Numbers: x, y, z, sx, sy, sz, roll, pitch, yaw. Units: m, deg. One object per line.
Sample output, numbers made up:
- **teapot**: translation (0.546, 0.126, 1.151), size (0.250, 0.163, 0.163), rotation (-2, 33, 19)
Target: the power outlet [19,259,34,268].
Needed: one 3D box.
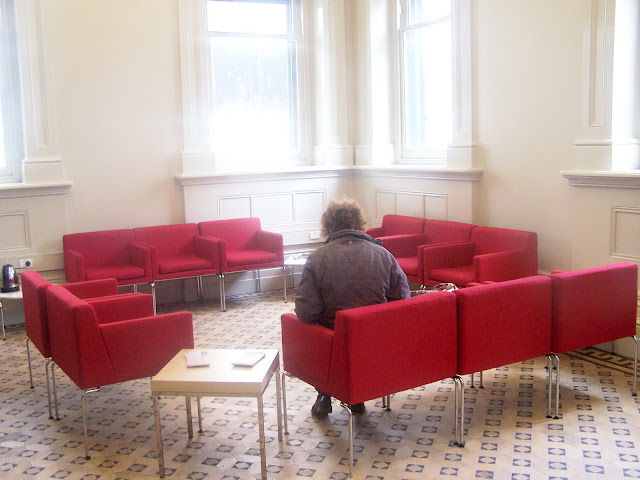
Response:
- **power outlet**: translation (-3.677, 0.291, 6.134), size (0.188, 0.139, 0.096), rotation (-1, 7, -36)

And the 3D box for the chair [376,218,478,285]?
- **chair**: translation (1.157, 0.169, 6.541), size (0.898, 0.949, 1.564), rotation (1, 7, -31)

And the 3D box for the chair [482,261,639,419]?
- **chair**: translation (2.051, 0.712, 4.214), size (1.120, 1.416, 1.054), rotation (-7, 13, -17)

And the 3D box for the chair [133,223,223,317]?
- **chair**: translation (-1.891, 0.355, 6.503), size (1.017, 1.028, 0.908), rotation (-8, 12, -42)

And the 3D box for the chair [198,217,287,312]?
- **chair**: translation (-1.085, 0.286, 6.787), size (1.026, 1.071, 0.885), rotation (-4, 11, -30)

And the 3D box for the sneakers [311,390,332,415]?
- **sneakers**: translation (0.030, 1.281, 3.876), size (0.189, 0.205, 0.129), rotation (10, -10, -44)

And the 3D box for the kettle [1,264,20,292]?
- **kettle**: translation (-3.549, 0.437, 5.629), size (0.195, 0.296, 0.228), rotation (5, 12, 33)

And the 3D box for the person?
- **person**: translation (0.155, 0.330, 3.395), size (0.870, 1.520, 0.834), rotation (-5, 23, -13)

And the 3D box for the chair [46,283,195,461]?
- **chair**: translation (-1.452, 0.649, 3.861), size (1.092, 1.129, 1.425), rotation (-7, 12, -34)

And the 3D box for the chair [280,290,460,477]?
- **chair**: translation (0.335, 0.902, 3.708), size (1.205, 1.159, 1.161), rotation (-8, 5, -41)

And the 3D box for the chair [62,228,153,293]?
- **chair**: translation (-2.659, 0.251, 6.150), size (0.907, 0.634, 0.693), rotation (-7, 13, -42)

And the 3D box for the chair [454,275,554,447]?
- **chair**: translation (1.353, 0.881, 3.665), size (0.864, 1.017, 0.868), rotation (-11, -32, 32)

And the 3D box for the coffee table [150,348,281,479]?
- **coffee table**: translation (-0.651, 1.119, 3.202), size (0.721, 0.669, 0.551), rotation (-1, 10, 8)

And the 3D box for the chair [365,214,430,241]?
- **chair**: translation (1.149, -0.201, 6.874), size (0.473, 0.449, 0.456), rotation (-15, 15, -26)

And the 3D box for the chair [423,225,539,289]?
- **chair**: translation (1.850, 0.268, 5.634), size (0.967, 0.795, 0.923), rotation (-5, 8, -32)
